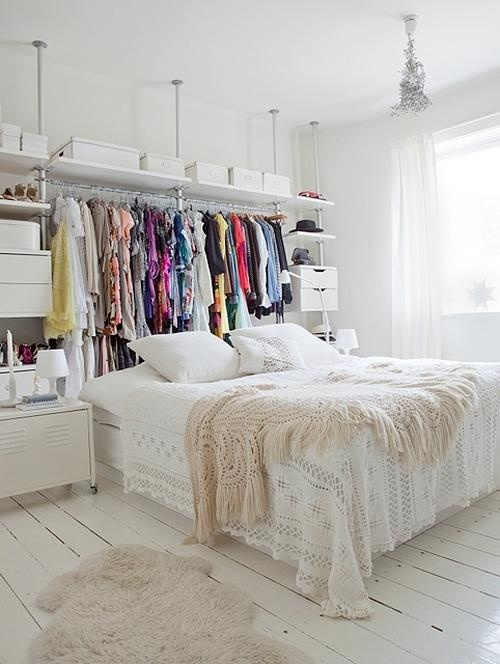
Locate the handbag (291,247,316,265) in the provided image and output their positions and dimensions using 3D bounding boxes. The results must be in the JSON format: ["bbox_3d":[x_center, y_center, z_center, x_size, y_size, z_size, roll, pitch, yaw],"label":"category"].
[{"bbox_3d":[0.451,-0.646,4.769,0.181,0.124,0.330,-2,1,4],"label":"handbag"}]

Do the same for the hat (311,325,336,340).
[{"bbox_3d":[0.587,-0.007,4.500,0.134,0.066,0.175,0,-1,-12],"label":"hat"}]
